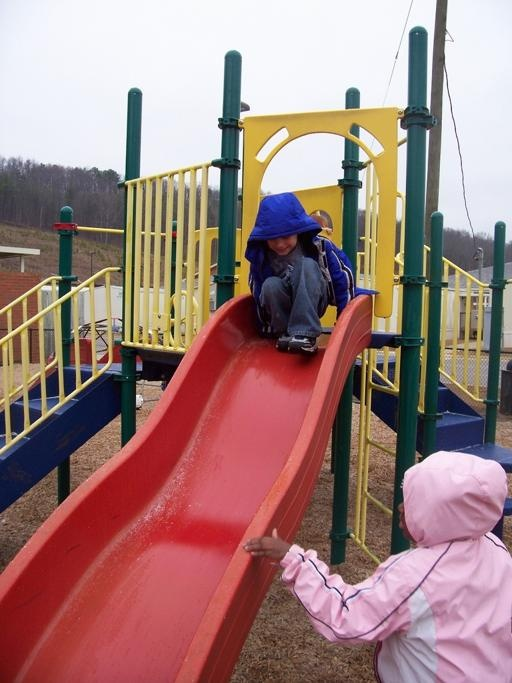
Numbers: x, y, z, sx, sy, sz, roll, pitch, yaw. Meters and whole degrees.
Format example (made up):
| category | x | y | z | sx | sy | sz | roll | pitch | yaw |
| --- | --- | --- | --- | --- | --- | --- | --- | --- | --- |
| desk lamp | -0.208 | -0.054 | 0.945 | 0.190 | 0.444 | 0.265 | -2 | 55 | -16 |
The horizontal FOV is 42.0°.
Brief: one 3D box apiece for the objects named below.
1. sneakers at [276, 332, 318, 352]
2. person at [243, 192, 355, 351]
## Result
| category | x | y | z | sx | sy | sz | roll | pitch | yaw |
| --- | --- | --- | --- | --- | --- | --- | --- | --- | --- |
| sneakers | 0.193 | -0.008 | 3.115 | 0.070 | 0.108 | 0.211 | 1 | 4 | 21 |
| person | 0.178 | -0.297 | 3.394 | 0.468 | 0.914 | 0.425 | -17 | -19 | 39 |
